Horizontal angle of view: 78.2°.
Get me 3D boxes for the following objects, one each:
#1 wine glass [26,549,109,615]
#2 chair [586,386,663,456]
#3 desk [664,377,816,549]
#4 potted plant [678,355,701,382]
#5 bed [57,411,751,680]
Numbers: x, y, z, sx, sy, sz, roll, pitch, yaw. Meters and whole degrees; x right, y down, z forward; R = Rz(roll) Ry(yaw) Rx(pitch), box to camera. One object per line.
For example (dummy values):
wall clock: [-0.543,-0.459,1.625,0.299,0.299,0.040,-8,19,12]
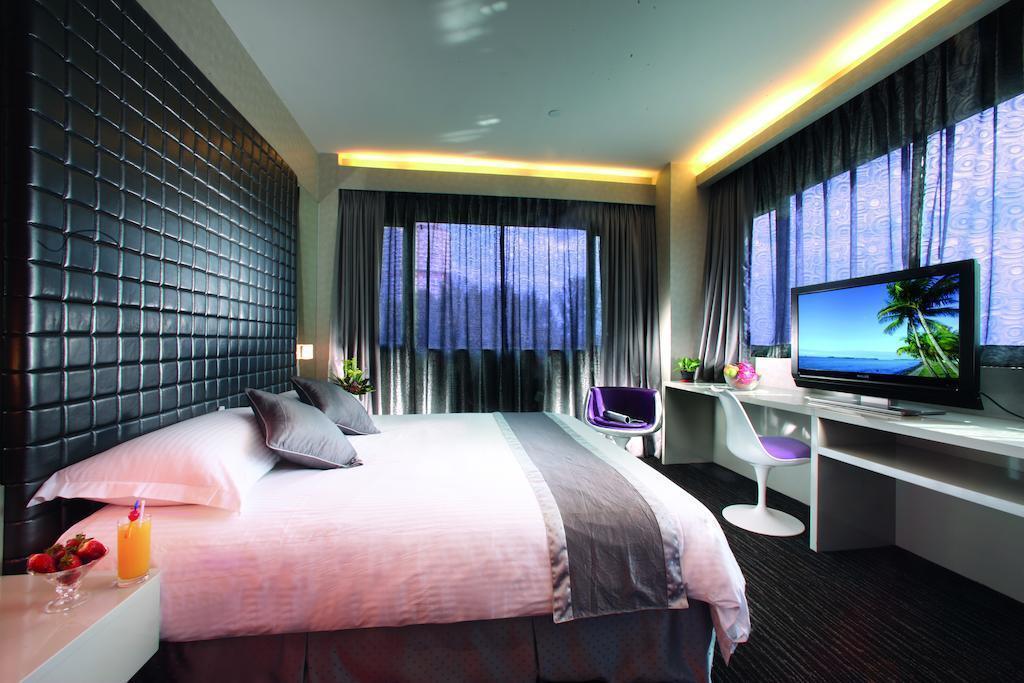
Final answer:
wine glass: [-1.974,1.060,2.790,0.223,0.155,0.230,1,-7,-18]
chair: [0.975,0.637,5.493,0.569,0.671,0.563,1,-3,9]
desk: [1.738,0.847,4.875,0.912,1.089,0.837,-1,0,1]
potted plant: [1.643,0.238,5.803,0.189,0.198,0.196,-1,-2,15]
bed: [-0.919,0.959,3.208,1.861,0.682,1.927,0,2,-10]
